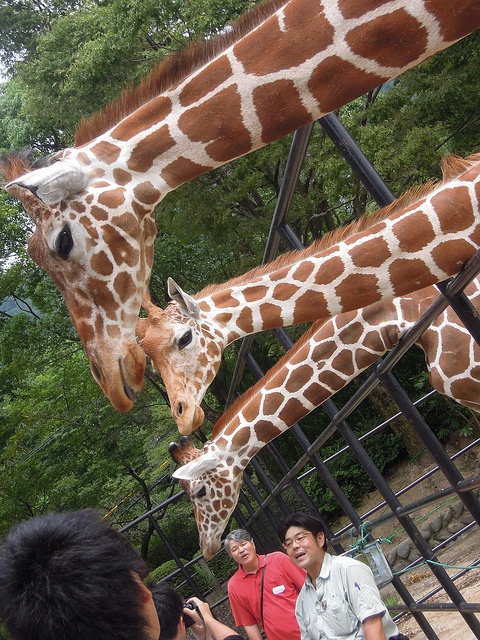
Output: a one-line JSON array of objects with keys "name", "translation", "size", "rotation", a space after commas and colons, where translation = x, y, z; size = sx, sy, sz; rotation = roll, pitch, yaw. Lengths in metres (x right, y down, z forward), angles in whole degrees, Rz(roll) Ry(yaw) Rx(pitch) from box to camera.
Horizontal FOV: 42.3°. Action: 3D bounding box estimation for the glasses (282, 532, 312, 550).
[{"name": "glasses", "translation": [0.275, 1.094, 3.060], "size": [0.103, 0.030, 0.105], "rotation": [-34, -14, 31]}]
